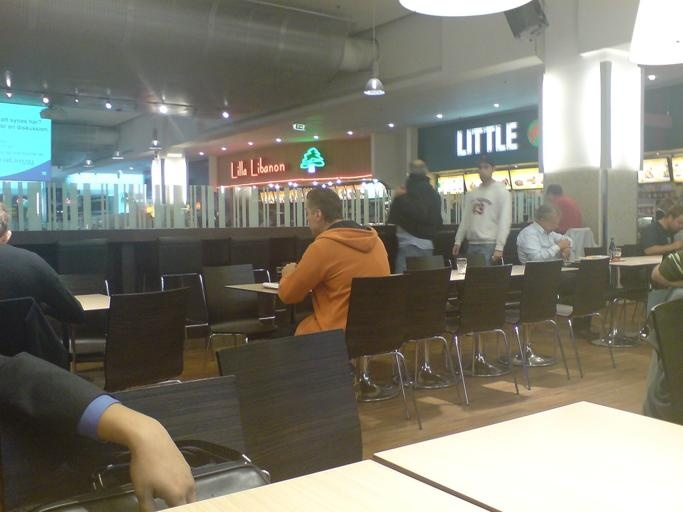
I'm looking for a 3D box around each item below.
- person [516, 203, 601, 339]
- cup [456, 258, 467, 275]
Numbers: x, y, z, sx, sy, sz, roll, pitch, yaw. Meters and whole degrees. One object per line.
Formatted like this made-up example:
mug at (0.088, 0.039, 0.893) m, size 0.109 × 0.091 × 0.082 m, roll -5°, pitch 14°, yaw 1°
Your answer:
person at (2.077, 0.111, 5.560) m, size 0.505 × 1.209 × 0.683 m, roll -18°, pitch 22°, yaw -40°
cup at (1.008, 0.089, 4.881) m, size 0.112 × 0.194 × 0.122 m, roll 0°, pitch -2°, yaw 0°
